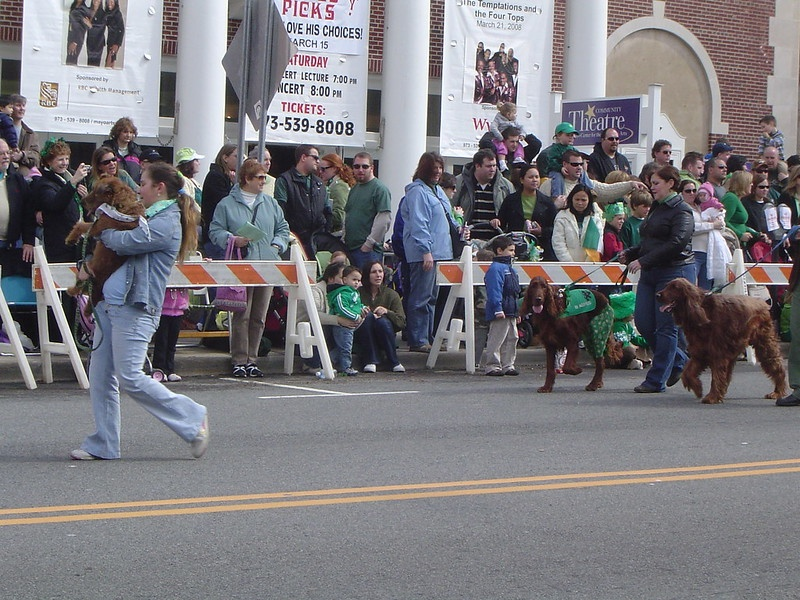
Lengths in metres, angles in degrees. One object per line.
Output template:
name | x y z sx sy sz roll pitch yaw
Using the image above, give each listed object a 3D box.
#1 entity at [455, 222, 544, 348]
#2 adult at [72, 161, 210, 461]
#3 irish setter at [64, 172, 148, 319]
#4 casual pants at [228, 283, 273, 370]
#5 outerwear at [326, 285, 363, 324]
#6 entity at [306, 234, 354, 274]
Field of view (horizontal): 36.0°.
entity | 1.191 -0.200 15.288 0.593 1.206 1.528 -5 7 -28
adult | -2.150 0.096 10.064 1.361 2.532 0.862 5 -8 -4
irish setter | -2.374 -0.526 10.139 0.614 1.299 0.543 -4 32 -44
casual pants | -1.750 0.342 14.376 0.473 0.981 0.344 -1 7 -15
outerwear | -0.651 0.075 14.661 0.377 0.365 0.459 -4 -2 12
entity | -0.974 -0.620 15.857 0.462 0.627 0.511 3 -12 -22
